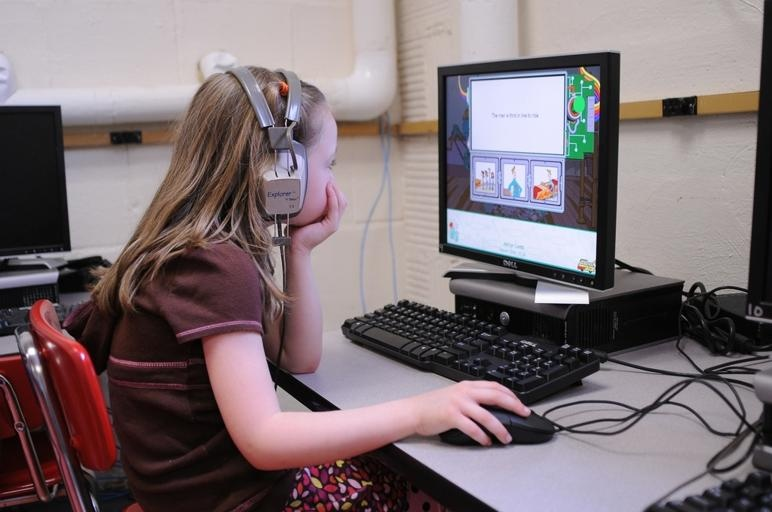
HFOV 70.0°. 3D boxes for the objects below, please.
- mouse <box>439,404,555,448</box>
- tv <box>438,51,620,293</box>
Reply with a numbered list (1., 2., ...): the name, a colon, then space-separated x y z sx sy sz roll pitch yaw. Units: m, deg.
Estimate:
1. mouse: 0.213 0.319 1.032 0.218 0.062 0.046 -1 11 0
2. tv: 0.368 -0.210 1.386 0.142 0.626 0.739 -4 8 -24
